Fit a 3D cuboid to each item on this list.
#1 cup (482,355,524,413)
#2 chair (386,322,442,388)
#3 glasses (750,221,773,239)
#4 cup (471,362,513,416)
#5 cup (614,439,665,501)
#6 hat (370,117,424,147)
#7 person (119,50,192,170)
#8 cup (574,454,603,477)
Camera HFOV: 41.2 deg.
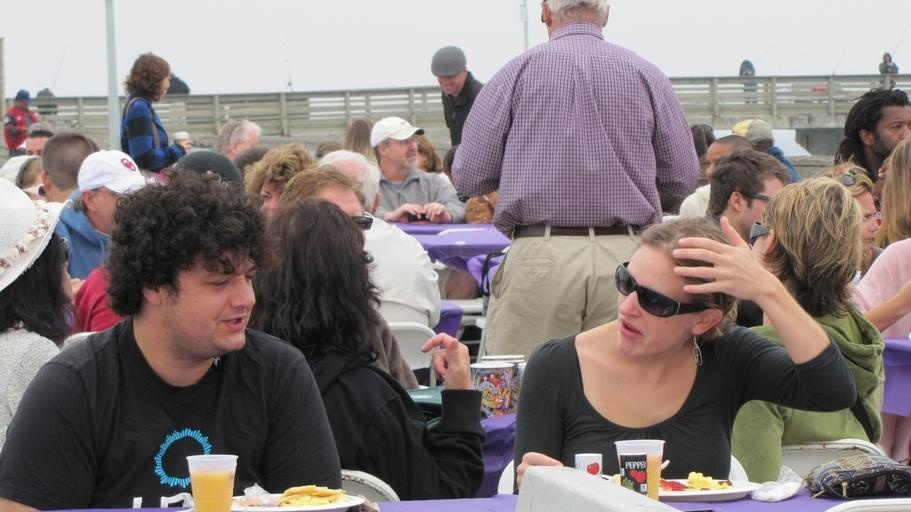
[{"bbox_3d":[0.283,0.801,7.391,0.317,0.383,0.306,2,-9,0],"label":"cup"},{"bbox_3d":[-0.295,0.676,8.332,0.404,0.607,0.449,1,24,2],"label":"chair"},{"bbox_3d":[1.848,-0.163,7.450,0.126,0.089,0.105,7,1,31],"label":"glasses"},{"bbox_3d":[0.232,0.785,7.219,0.306,0.293,0.297,-2,3,0],"label":"cup"},{"bbox_3d":[0.864,1.089,6.113,0.323,0.355,0.254,0,-16,0],"label":"cup"},{"bbox_3d":[-0.640,-1.225,11.901,0.425,0.200,0.294,-9,8,19],"label":"hat"},{"bbox_3d":[-3.140,-1.478,12.416,0.422,1.218,0.628,0,5,27],"label":"person"},{"bbox_3d":[0.658,1.064,6.132,0.123,0.088,0.124,-1,-2,0],"label":"cup"}]
